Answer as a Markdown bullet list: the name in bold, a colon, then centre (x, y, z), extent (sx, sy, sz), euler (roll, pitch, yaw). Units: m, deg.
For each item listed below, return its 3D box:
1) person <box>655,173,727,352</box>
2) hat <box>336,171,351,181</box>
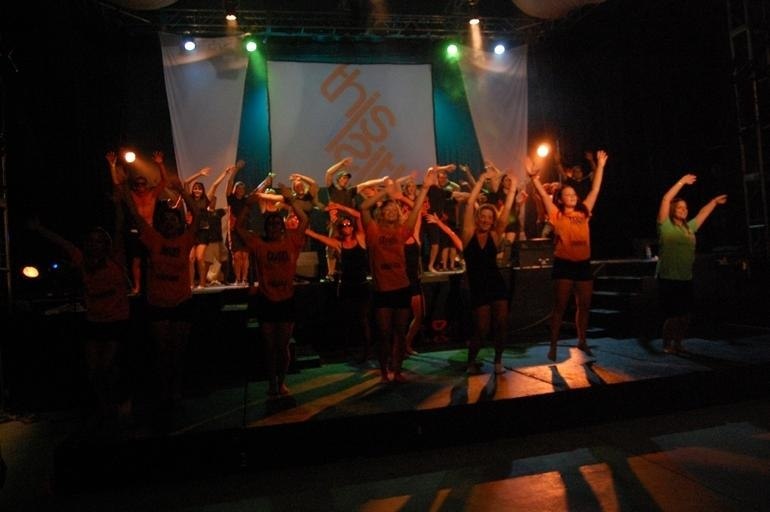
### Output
- **person**: centre (4.452, 0.108, 8.607), extent (0.567, 2.609, 0.963), euler (4, 12, 35)
- **hat**: centre (-0.840, -1.594, 11.134), extent (0.197, 0.099, 0.290), euler (1, -3, -32)
